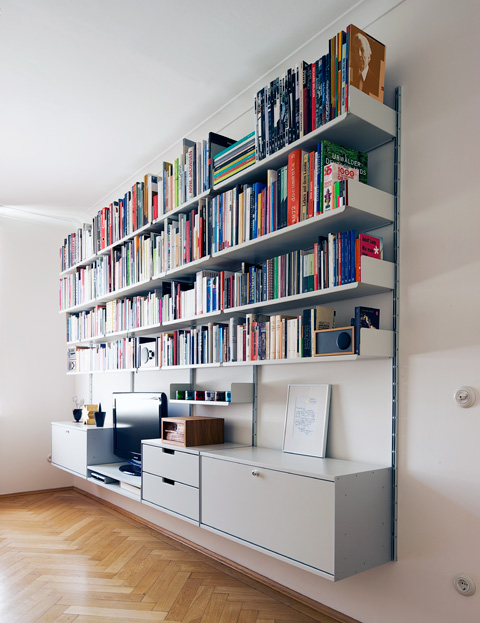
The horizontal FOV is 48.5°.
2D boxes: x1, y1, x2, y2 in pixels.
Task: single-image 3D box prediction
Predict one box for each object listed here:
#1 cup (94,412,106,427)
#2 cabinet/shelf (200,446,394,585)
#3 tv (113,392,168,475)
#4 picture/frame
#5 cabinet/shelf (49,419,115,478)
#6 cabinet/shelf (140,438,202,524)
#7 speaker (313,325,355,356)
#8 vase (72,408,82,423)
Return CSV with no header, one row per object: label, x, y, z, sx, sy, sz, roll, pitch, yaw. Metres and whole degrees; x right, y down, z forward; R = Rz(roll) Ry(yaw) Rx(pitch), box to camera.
cup,-1.097,0.838,4.178,0.092,0.126,0.100,1,-1,0
cabinet/shelf,0.205,0.790,2.207,0.332,0.354,0.819,4,-9,-38
tv,-0.634,0.776,3.441,0.130,0.444,0.528,1,-5,-29
picture/frame,0.304,0.488,2.394,0.039,0.339,0.270,12,-15,-26
cabinet/shelf,-1.239,1.085,4.275,0.278,0.361,0.803,3,-9,-38
cabinet/shelf,-0.311,0.869,2.924,0.412,0.349,0.266,3,5,32
speaker,0.356,0.114,2.001,0.057,0.101,0.204,2,-8,-26
vase,-1.459,0.929,4.769,0.102,0.126,0.118,4,-5,6
